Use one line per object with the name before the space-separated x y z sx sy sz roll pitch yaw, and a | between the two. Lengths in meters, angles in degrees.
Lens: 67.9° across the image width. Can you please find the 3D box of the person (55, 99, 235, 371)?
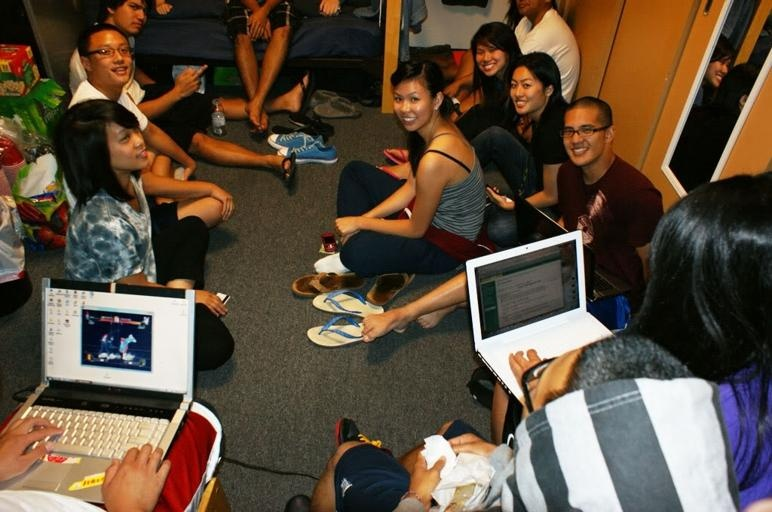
person | -1.260 -0.083 2.996 0.795 1.178 1.250 -8 62 -15

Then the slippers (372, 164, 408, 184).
slippers | 0.028 -0.579 4.027 0.297 0.111 0.113 0 75 -1

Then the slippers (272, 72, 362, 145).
slippers | -0.552 -1.241 4.823 0.685 0.178 0.550 4 74 -3

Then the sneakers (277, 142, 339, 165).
sneakers | -0.583 -0.777 4.395 0.457 0.168 0.171 2 48 -7

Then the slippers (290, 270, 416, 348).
slippers | -0.194 0.284 3.368 0.508 0.086 0.430 -3 44 -9

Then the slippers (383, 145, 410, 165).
slippers | 0.087 -0.767 4.426 0.160 0.061 0.178 -28 30 -26

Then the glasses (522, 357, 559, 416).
glasses | 0.508 0.427 1.981 0.051 0.192 0.191 2 10 45

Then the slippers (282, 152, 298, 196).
slippers | -0.693 -0.619 4.183 0.099 0.235 0.257 -2 38 -10

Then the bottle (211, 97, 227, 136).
bottle | -1.357 -1.122 4.681 0.135 0.305 0.137 1 48 -1

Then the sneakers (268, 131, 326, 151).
sneakers | -0.688 -0.897 4.464 0.411 0.151 0.166 1 39 -4

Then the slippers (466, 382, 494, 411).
slippers | 0.492 0.712 2.976 0.049 0.103 0.142 -28 90 -9
